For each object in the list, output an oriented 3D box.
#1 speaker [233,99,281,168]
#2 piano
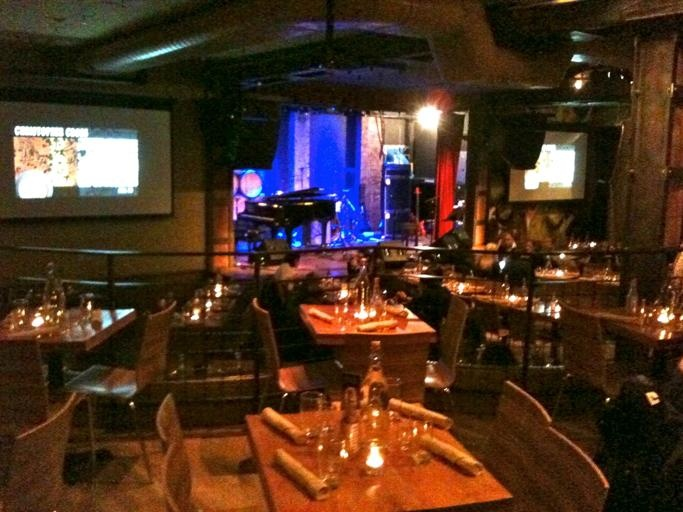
[{"bbox_3d":[-1.607,-2.341,11.643,0.347,1.283,0.934,7,11,41],"label":"speaker"},{"bbox_3d":[-1.058,-0.677,11.957,2.214,1.217,1.511,-4,6,-34],"label":"piano"}]
